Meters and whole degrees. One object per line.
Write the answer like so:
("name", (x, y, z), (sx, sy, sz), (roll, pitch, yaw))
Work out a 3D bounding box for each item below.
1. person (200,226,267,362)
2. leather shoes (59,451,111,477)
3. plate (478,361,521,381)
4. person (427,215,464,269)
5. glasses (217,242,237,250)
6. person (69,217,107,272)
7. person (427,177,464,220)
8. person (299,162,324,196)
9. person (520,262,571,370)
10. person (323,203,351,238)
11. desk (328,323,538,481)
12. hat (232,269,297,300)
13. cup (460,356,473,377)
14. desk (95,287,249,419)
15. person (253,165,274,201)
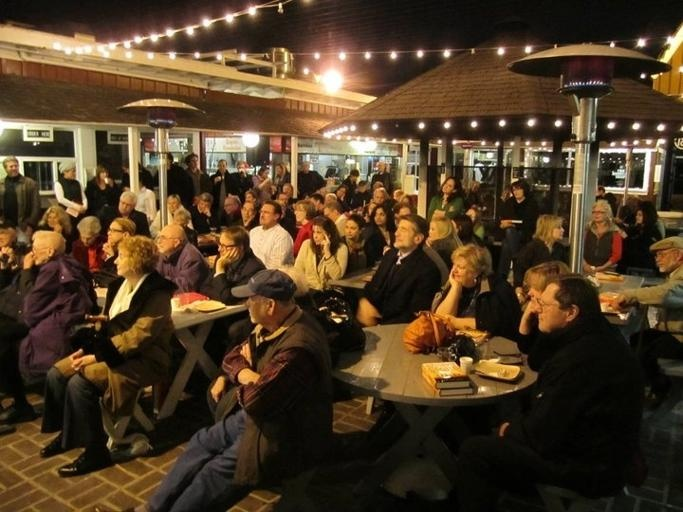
("person", (-1.117, 0.400, 6.359), (0.804, 1.385, 0.655), (-16, 20, -32))
("leather shoes", (-2.270, 1.853, 4.908), (0.491, 0.290, 0.161), (8, 0, -25))
("plate", (1.239, 0.912, 4.280), (0.213, 0.043, 0.162), (4, 15, 34))
("person", (1.405, -0.119, 7.513), (0.533, 0.835, 0.646), (6, 14, 14))
("glasses", (-1.304, -0.094, 6.094), (0.214, 0.089, 0.072), (5, 11, 29))
("person", (-3.492, -0.081, 7.438), (0.493, 0.772, 0.542), (4, 18, -3))
("person", (2.165, -1.232, 11.028), (0.658, 0.759, 1.238), (1, 9, 9))
("person", (-1.026, -2.355, 16.559), (0.637, 1.023, 1.043), (1, 9, 8))
("person", (1.625, 0.469, 4.516), (0.287, 0.798, 0.617), (4, -6, 7))
("person", (-0.054, -0.634, 9.196), (0.401, 0.507, 0.789), (-19, -3, -1))
("desk", (0.583, 1.048, 4.294), (1.173, 0.641, 1.206), (5, 13, 27))
("hat", (-0.560, 0.200, 3.946), (0.376, 0.162, 0.234), (7, 13, -3))
("cup", (0.986, 0.870, 4.285), (0.122, 0.124, 0.124), (-1, 6, 0))
("desk", (-1.844, 0.937, 5.924), (2.088, 1.023, 1.193), (10, 11, 44))
("person", (-2.072, -1.741, 14.411), (0.504, 1.292, 0.457), (-14, 32, -33))
